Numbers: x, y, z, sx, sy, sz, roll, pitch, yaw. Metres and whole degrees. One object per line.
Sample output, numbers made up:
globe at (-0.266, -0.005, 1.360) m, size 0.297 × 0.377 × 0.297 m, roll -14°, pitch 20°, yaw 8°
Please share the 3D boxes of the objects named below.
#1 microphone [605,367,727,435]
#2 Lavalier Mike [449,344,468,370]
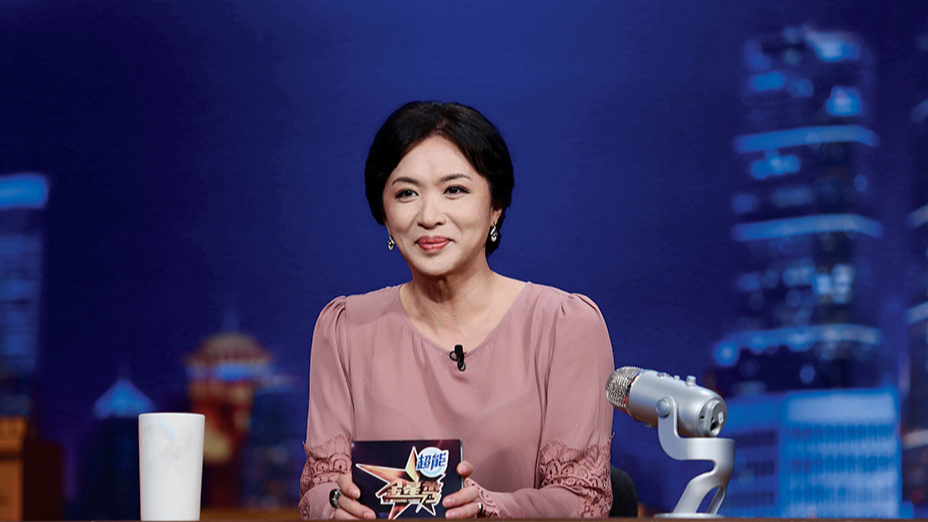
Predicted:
microphone at (0.890, 0.601, 5.267) m, size 0.242 × 0.255 × 0.549 m, roll -3°, pitch 10°, yaw -40°
Lavalier Mike at (-0.034, 0.498, 5.894) m, size 0.077 × 0.127 × 0.041 m, roll -7°, pitch 4°, yaw 5°
